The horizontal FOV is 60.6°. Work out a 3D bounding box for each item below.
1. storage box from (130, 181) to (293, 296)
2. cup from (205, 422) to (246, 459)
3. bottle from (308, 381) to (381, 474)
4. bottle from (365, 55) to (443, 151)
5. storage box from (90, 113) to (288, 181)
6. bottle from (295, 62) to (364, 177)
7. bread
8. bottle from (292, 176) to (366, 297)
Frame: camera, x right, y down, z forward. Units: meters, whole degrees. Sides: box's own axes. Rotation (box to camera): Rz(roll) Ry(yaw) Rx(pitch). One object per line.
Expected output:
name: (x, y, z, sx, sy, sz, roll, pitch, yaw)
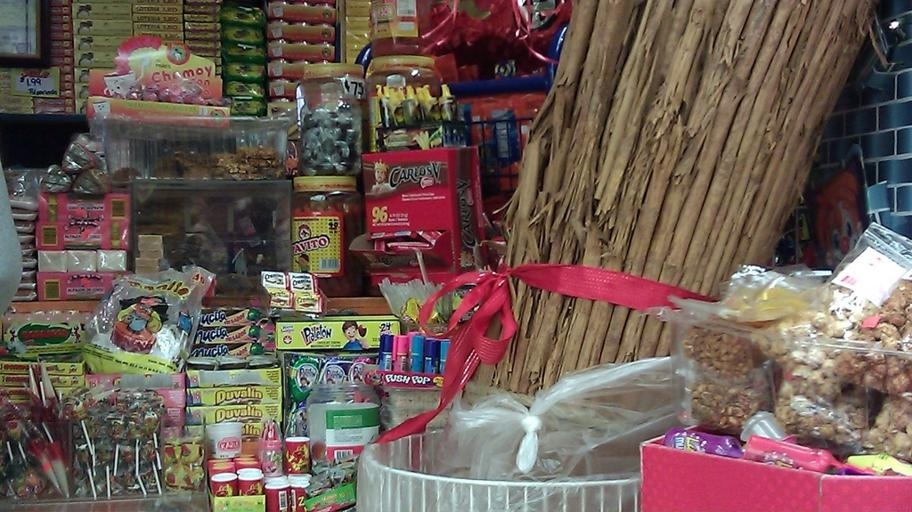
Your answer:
storage box: (-0.855, -0.068, 2.948, 0.615, 0.415, 0.327, 0, 4, 6)
cup: (-0.702, 0.559, 2.363, 0.143, 0.099, 0.140, -3, -11, -1)
bottle: (-0.321, 0.476, 2.211, 0.239, 0.230, 0.223, 1, -2, 4)
bottle: (-0.183, -0.499, 2.759, 0.251, 0.352, 0.232, -4, 2, 0)
storage box: (-0.972, -0.388, 2.887, 0.479, 0.145, 0.335, -1, -4, -12)
bottle: (-0.480, -0.523, 2.991, 0.257, 0.402, 0.363, -2, 17, -11)
bread: (-0.959, -0.349, 2.877, 0.629, 0.121, 0.116, 0, 17, -5)
bottle: (-0.486, -0.071, 2.934, 0.361, 0.412, 0.341, 0, 4, -5)
